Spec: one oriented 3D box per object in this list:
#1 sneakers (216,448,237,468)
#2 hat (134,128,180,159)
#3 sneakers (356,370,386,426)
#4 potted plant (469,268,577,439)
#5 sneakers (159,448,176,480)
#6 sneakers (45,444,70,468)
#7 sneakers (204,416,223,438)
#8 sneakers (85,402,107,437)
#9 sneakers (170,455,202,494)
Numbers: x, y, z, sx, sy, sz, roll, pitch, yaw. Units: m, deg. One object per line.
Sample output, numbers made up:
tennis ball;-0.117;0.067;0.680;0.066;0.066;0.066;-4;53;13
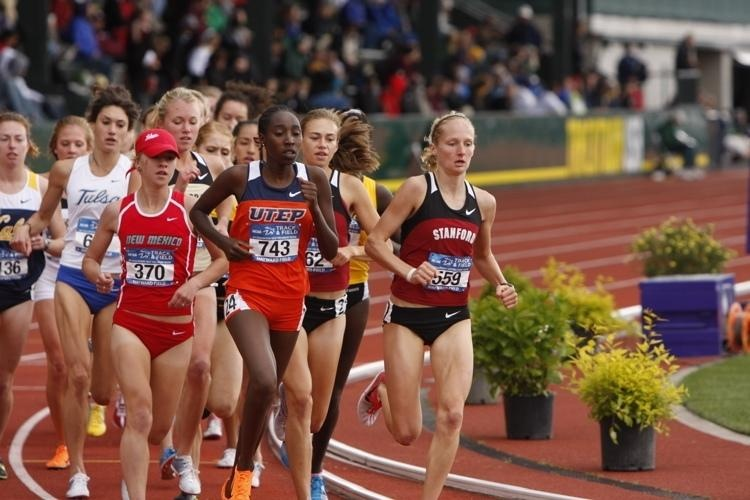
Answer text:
sneakers;-1.275;1.780;7.899;0.156;0.152;0.358;0;0;-9
hat;-1.531;-0.741;6.473;0.293;0.209;0.183;0;0;-9
sneakers;-0.036;1.234;7.461;0.185;0.499;0.222;13;22;-12
potted plant;1.318;1.086;8.867;1.199;1.654;1.188;1;-7;-7
sneakers;-1.628;1.697;7.340;0.135;0.168;0.398;-5;-41;-15
sneakers;-2.711;1.756;7.883;0.203;0.200;0.120;0;0;3
sneakers;-1.547;1.725;8.988;0.152;0.177;0.412;1;-8;-3
sneakers;-2.738;1.657;9.142;0.179;0.294;0.426;0;0;-15
sneakers;-1.390;1.671;6.896;0.181;0.285;0.201;0;0;-24
